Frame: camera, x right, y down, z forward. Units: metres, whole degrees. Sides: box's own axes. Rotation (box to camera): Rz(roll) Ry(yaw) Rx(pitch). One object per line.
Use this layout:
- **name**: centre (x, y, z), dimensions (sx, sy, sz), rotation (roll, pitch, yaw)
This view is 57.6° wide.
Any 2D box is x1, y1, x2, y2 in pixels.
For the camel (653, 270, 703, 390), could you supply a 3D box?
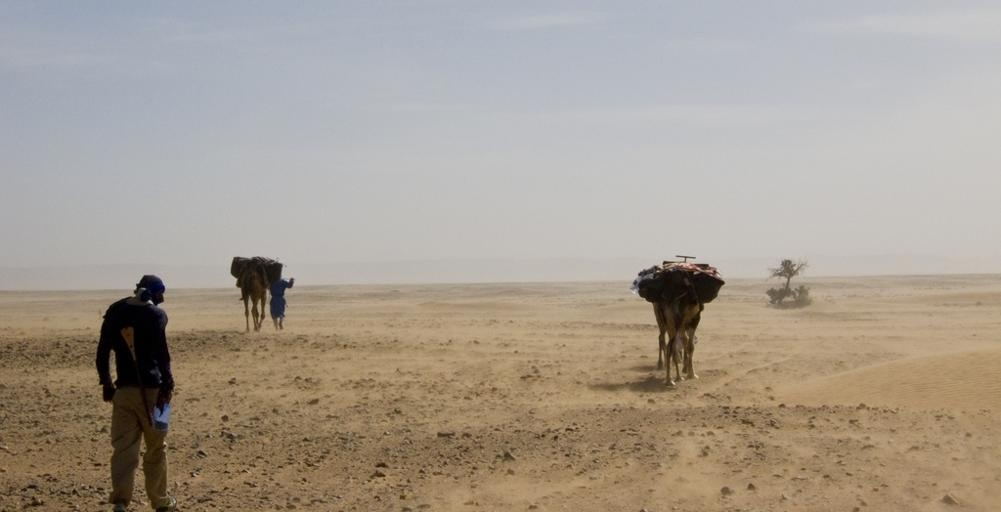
- **camel**: centre (6.529, 2.604, 33.889), dimensions (1.693, 4.189, 1.324), rotation (-3, 6, -38)
